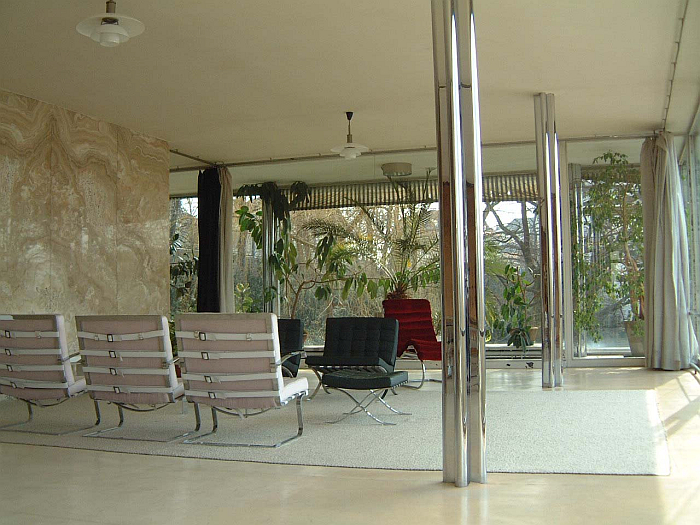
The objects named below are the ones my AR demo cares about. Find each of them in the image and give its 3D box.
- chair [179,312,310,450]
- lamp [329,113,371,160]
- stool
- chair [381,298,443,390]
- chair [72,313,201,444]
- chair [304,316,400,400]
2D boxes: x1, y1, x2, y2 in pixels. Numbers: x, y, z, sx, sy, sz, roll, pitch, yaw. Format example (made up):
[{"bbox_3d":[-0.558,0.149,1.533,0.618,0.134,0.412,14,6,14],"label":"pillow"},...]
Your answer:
[{"bbox_3d":[-0.928,0.988,5.294,0.911,1.178,1.115,-1,-3,14],"label":"chair"},{"bbox_3d":[-0.014,-1.785,8.162,0.637,0.563,0.627,-8,13,-34],"label":"lamp"},{"bbox_3d":[0.123,1.304,5.988,0.798,0.390,0.861,-9,-4,28],"label":"stool"},{"bbox_3d":[1.122,1.167,8.509,0.721,1.119,0.947,-16,-18,37],"label":"chair"},{"bbox_3d":[-1.947,1.046,5.528,0.991,1.081,1.122,0,-6,-9],"label":"chair"},{"bbox_3d":[0.070,0.982,6.429,0.937,0.768,0.940,-3,-6,27],"label":"chair"}]
